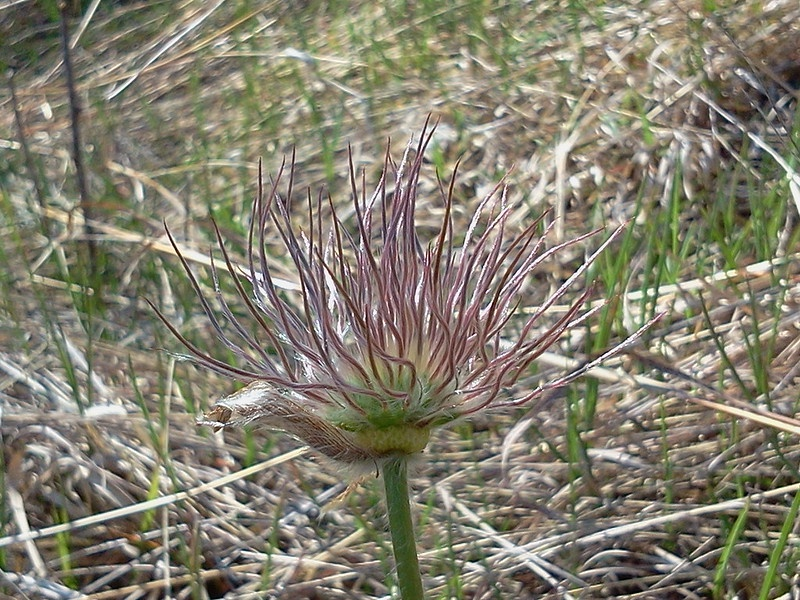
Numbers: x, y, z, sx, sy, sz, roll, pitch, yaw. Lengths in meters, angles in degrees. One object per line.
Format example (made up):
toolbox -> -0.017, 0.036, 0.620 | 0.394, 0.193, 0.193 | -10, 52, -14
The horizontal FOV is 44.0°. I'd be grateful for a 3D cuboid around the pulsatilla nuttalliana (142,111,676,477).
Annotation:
pulsatilla nuttalliana -> 0.098, 0.063, 1.768 | 0.737, 0.857, 0.491 | -4, 89, 36
